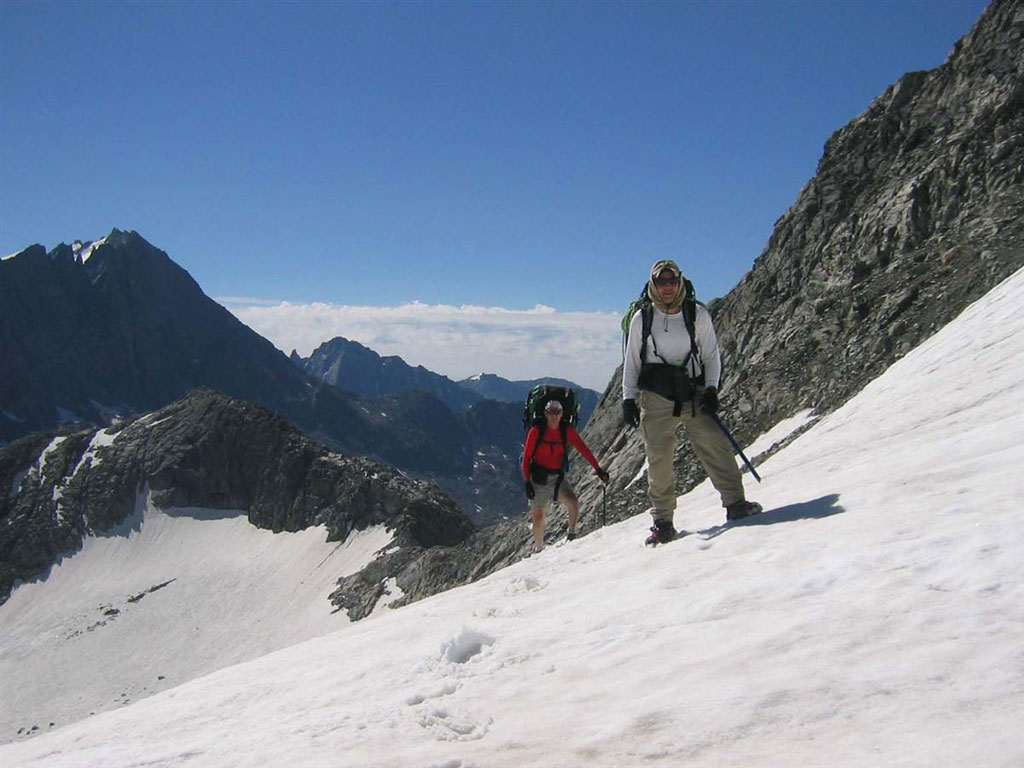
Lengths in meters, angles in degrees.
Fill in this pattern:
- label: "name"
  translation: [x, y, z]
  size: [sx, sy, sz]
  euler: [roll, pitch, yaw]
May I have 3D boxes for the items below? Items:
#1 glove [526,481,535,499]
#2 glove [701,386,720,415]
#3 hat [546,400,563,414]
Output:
- label: "glove"
  translation: [0.406, 2.619, 21.592]
  size: [0.101, 0.398, 0.274]
  euler: [3, 0, -10]
- label: "glove"
  translation: [4.080, 0.347, 18.006]
  size: [0.356, 0.560, 0.283]
  euler: [-8, 7, 9]
- label: "hat"
  translation: [0.998, 0.526, 21.380]
  size: [0.482, 0.286, 0.282]
  euler: [-12, 7, -15]
